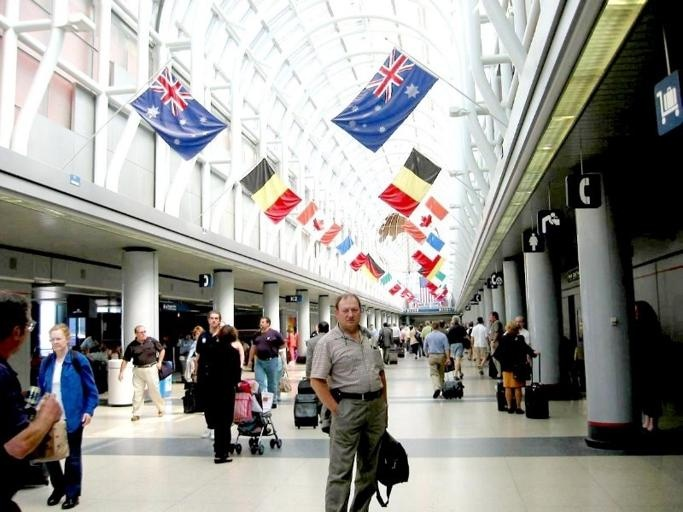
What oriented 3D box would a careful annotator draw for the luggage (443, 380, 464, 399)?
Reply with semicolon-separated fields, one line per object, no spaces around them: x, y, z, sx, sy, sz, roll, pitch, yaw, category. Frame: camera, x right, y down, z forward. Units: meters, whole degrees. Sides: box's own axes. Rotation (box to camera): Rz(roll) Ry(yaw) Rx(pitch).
3.145;3.750;15.303;0.590;0.647;0.475;-2;-21;10;luggage

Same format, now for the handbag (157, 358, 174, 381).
-4.674;2.995;14.371;0.348;0.250;0.585;-3;-4;-7;handbag

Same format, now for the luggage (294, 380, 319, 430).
-0.750;3.111;11.738;0.531;1.051;0.956;0;-10;1;luggage

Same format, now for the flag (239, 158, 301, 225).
-2.400;-2.289;18.449;1.703;1.984;0.744;4;-12;-26;flag

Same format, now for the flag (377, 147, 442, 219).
2.124;-2.358;16.416;0.985;1.769;1.569;10;-16;-44;flag

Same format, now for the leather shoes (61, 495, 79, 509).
-3.345;3.020;6.730;0.094;0.116;0.255;3;-17;-4;leather shoes

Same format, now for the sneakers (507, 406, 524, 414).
4.072;3.551;12.681;0.398;0.195;0.139;-9;-11;39;sneakers

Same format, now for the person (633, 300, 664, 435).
5.421;1.899;9.591;0.467;2.278;1.029;-8;-13;30;person

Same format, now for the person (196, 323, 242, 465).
-1.952;2.180;8.813;0.620;2.178;0.433;2;-11;-16;person
